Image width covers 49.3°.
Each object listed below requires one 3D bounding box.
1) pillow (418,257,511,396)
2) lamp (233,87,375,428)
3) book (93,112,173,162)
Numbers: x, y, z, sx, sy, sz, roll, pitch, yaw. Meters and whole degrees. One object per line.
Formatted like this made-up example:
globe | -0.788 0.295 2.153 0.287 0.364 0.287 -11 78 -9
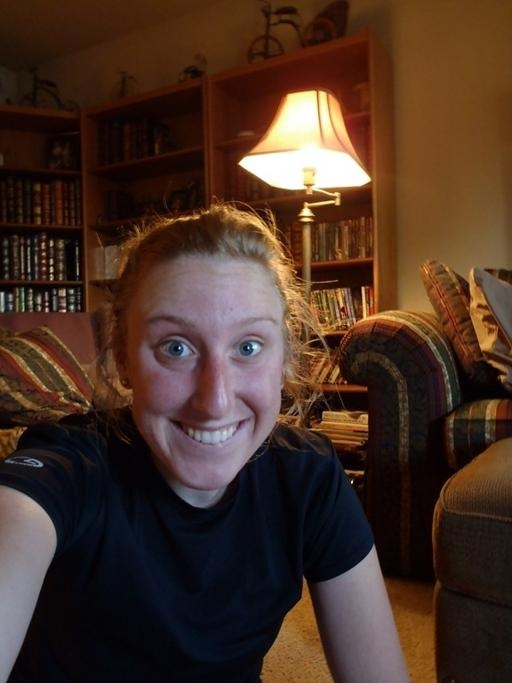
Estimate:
pillow | 0.621 -0.069 1.736 0.097 0.330 0.314 -26 -32 11
lamp | 0.206 -0.450 2.212 0.533 0.996 0.600 5 -6 -27
book | -0.807 -1.293 3.591 0.544 0.373 0.310 1 2 5
